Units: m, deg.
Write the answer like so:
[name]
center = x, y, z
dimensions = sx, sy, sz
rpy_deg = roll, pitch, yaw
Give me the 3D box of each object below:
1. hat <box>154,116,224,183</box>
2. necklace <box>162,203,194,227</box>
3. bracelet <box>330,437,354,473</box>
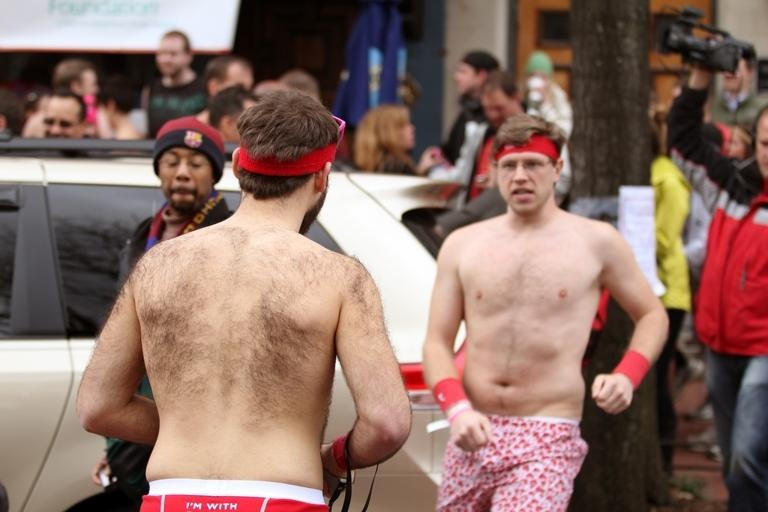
[hat]
center = -1.149, -0.697, 6.597
dimensions = 0.309, 0.353, 0.430
rpy_deg = 5, -22, -3
[necklace]
center = -1.221, -0.244, 6.550
dimensions = 0.119, 0.080, 0.151
rpy_deg = -1, 6, -32
[bracelet]
center = -0.198, 0.916, 5.226
dimensions = 0.109, 0.146, 0.101
rpy_deg = -4, 36, -14
